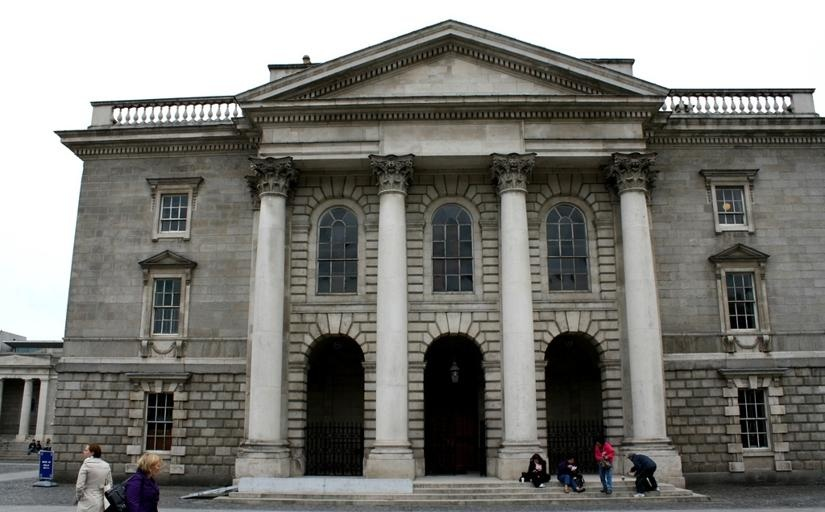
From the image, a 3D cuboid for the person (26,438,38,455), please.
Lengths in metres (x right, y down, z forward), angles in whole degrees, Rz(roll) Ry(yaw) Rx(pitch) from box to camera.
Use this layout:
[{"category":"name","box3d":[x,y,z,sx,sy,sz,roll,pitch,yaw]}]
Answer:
[{"category":"person","box3d":[-30.792,15.697,67.357,0.935,1.170,2.508,8,-18,-24]}]

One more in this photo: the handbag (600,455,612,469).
[{"category":"handbag","box3d":[9.376,10.130,40.409,0.641,0.577,0.295,13,-22,-37]}]

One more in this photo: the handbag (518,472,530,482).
[{"category":"handbag","box3d":[5.469,11.070,41.124,0.477,0.507,0.430,1,-36,2]}]

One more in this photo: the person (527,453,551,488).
[{"category":"person","box3d":[6.123,10.663,41.062,1.291,1.445,1.593,0,-1,-3]}]

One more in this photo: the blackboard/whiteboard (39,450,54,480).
[{"category":"blackboard/whiteboard","box3d":[-19.262,11.095,43.523,0.575,1.487,0.994,4,-18,-12]}]
